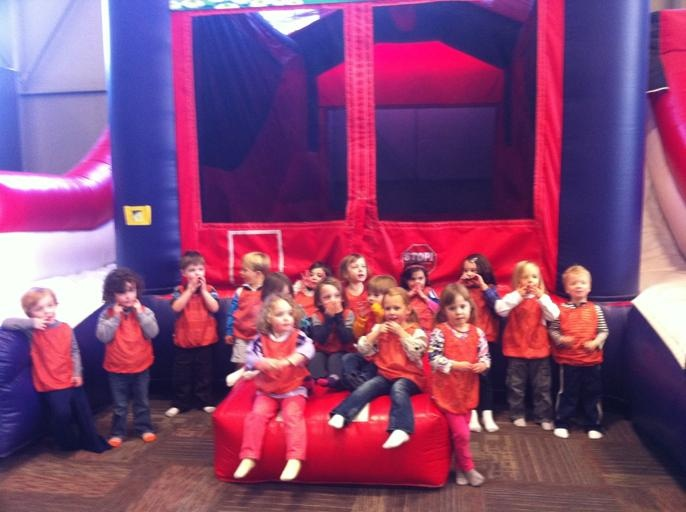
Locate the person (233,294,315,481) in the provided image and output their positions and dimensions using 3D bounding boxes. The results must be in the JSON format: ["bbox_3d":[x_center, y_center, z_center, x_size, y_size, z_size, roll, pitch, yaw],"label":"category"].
[{"bbox_3d":[-0.326,0.625,2.620,0.407,0.839,0.448,-4,8,-3],"label":"person"}]

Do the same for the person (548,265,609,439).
[{"bbox_3d":[1.228,0.486,3.005,0.281,0.850,0.404,0,9,24],"label":"person"}]

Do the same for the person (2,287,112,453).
[{"bbox_3d":[-1.416,0.570,2.882,0.423,0.850,0.133,-3,8,0],"label":"person"}]

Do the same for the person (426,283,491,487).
[{"bbox_3d":[0.545,0.580,2.697,0.266,0.884,0.321,-1,8,20],"label":"person"}]

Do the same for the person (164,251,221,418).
[{"bbox_3d":[-0.871,0.434,3.302,0.351,0.912,0.240,-5,8,-12],"label":"person"}]
